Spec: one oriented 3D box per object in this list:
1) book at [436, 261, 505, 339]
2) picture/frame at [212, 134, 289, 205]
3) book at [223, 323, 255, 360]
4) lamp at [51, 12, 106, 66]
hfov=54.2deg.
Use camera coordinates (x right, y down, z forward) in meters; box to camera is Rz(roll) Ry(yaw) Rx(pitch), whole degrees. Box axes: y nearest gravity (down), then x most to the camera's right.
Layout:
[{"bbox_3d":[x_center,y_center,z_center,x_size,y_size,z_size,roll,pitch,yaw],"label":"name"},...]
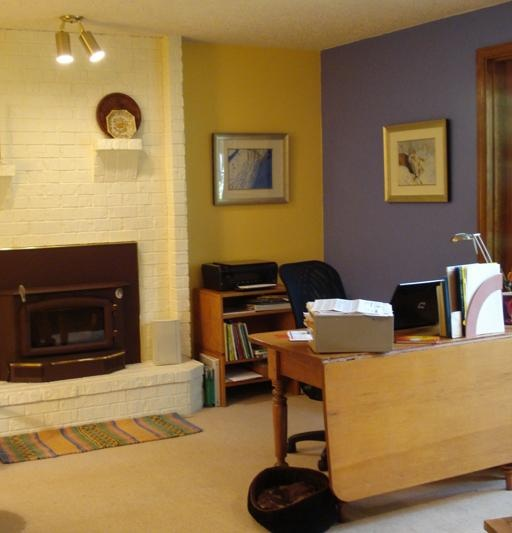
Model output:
[{"bbox_3d":[0.949,0.162,2.207,0.366,0.318,0.124,-2,2,-32],"label":"book"},{"bbox_3d":[-0.033,-0.829,4.254,0.832,0.629,0.062,-10,18,-36],"label":"picture/frame"},{"bbox_3d":[-0.146,0.567,3.811,0.123,0.320,0.250,-7,0,-7],"label":"book"},{"bbox_3d":[-1.107,-1.398,3.063,0.269,0.229,0.126,-15,14,-21],"label":"lamp"}]
